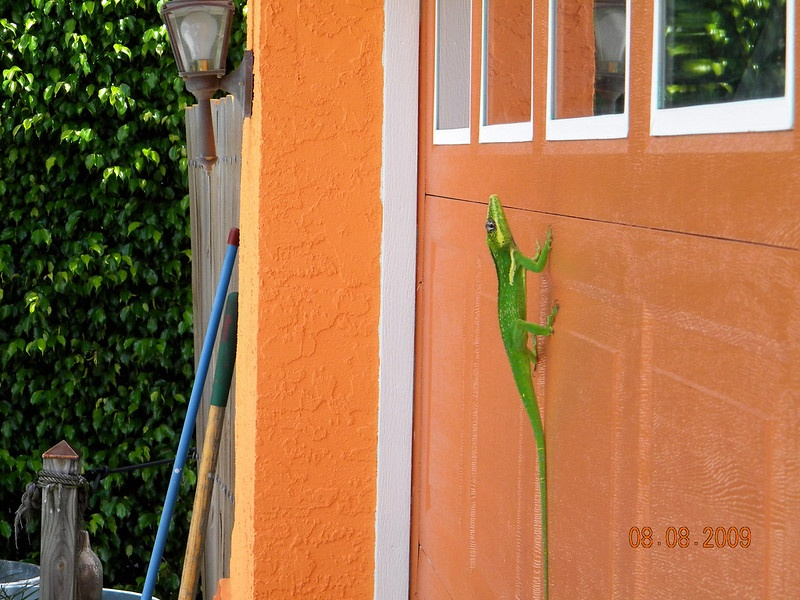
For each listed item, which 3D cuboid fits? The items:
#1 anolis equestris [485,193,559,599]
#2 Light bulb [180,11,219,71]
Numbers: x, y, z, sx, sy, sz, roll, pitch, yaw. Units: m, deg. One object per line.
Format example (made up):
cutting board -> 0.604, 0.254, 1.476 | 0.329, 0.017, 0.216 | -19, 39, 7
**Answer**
anolis equestris -> 0.331, 0.300, 2.787 | 0.141, 1.159, 0.140 | -1, 3, 37
Light bulb -> -0.703, -0.899, 3.831 | 0.121, 0.227, 0.128 | -2, 5, -21
